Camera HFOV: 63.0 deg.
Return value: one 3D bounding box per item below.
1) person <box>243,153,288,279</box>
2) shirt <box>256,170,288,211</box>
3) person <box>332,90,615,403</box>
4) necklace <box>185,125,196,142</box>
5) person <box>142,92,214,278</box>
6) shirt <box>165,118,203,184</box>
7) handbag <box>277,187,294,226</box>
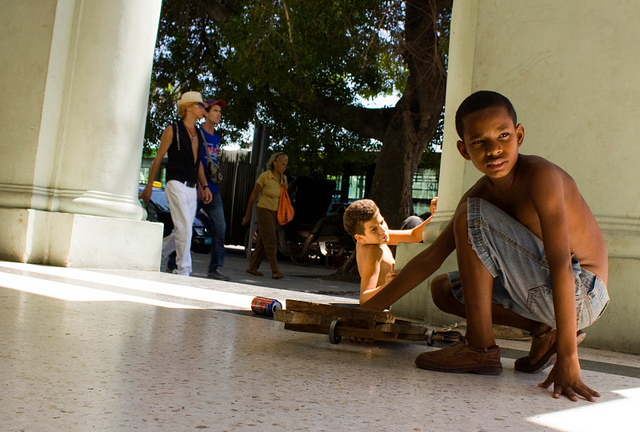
[{"bbox_3d":[-0.933,-0.052,9.023,0.723,2.092,1.020,5,0,-8],"label":"person"},{"bbox_3d":[-0.825,-0.425,8.941,0.745,0.712,0.391,1,1,-43],"label":"shirt"},{"bbox_3d":[0.838,0.120,2.891,1.398,1.481,0.949,6,-10,18],"label":"person"},{"bbox_3d":[-1.684,-1.057,6.771,0.036,0.136,0.145,-15,-10,11],"label":"necklace"},{"bbox_3d":[-1.781,-0.439,6.690,0.817,2.264,1.097,5,0,-10],"label":"person"},{"bbox_3d":[-1.676,-0.772,6.763,0.438,0.845,0.527,13,0,12],"label":"shirt"},{"bbox_3d":[-0.599,-0.181,9.027,0.259,0.634,0.249,5,0,-5],"label":"handbag"}]
